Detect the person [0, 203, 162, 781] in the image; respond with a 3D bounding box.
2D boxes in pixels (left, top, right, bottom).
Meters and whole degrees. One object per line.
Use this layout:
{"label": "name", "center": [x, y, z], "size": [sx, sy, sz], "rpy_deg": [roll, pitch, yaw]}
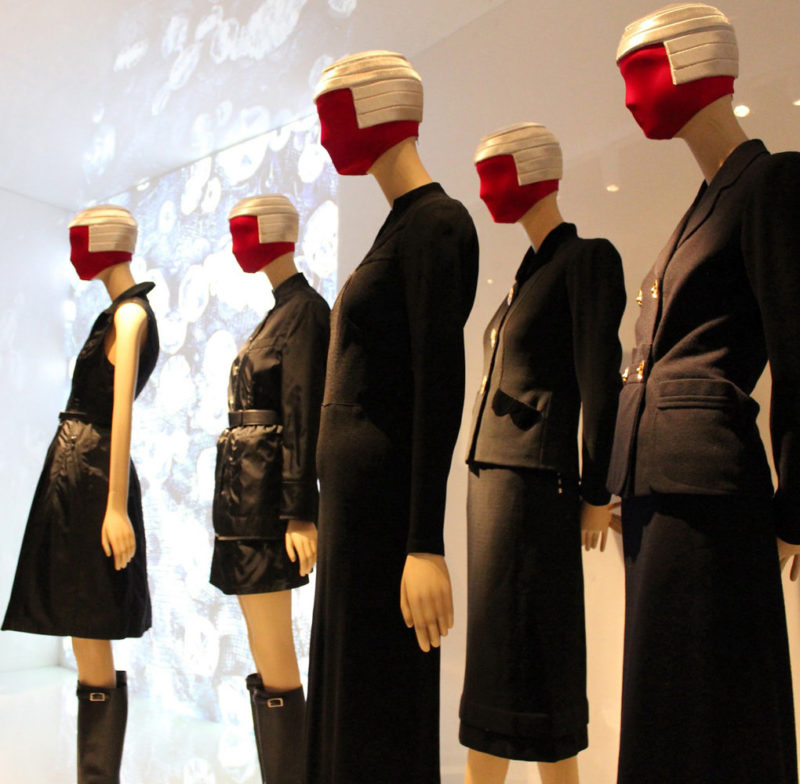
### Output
{"label": "person", "center": [-0.899, 0.373, 2.617], "size": [0.412, 1.471, 0.290], "rpy_deg": [1, -8, -19]}
